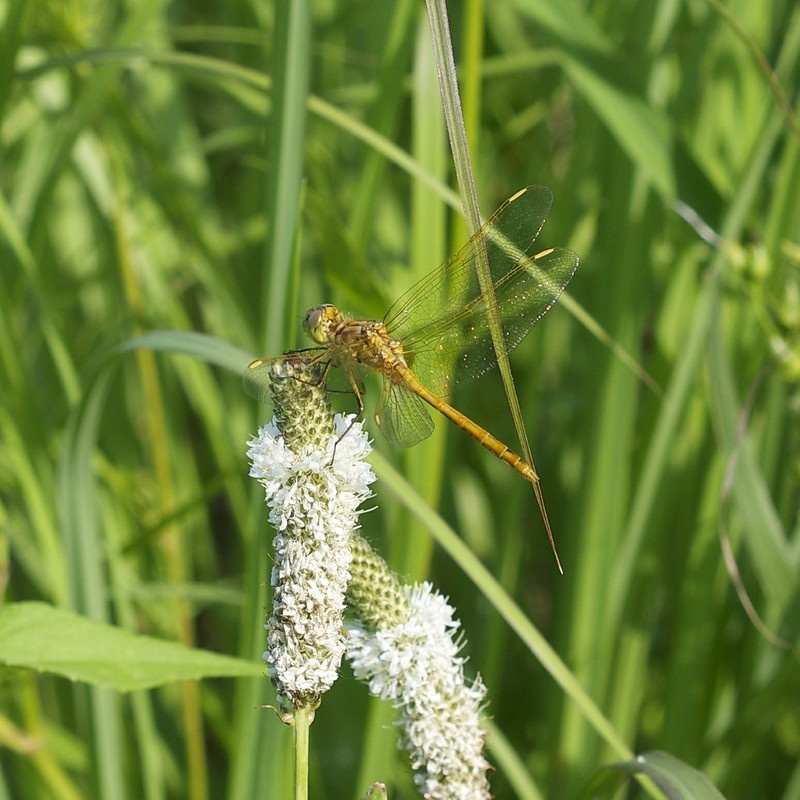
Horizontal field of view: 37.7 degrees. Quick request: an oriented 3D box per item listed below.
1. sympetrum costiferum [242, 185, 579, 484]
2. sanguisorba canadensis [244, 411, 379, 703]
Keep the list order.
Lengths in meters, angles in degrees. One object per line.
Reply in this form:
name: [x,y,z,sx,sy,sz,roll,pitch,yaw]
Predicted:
sympetrum costiferum: [0.076,-0.073,2.443,0.672,0.649,0.316,-8,-14,-19]
sanguisorba canadensis: [-0.137,0.252,1.945,0.212,0.467,0.146,-6,-13,-16]
